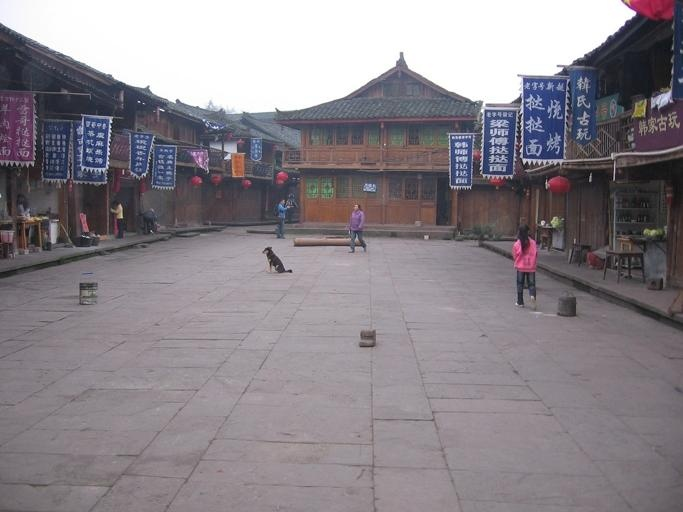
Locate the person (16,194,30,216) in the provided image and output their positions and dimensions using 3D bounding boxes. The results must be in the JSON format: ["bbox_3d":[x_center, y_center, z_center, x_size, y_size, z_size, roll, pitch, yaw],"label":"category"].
[{"bbox_3d":[-9.520,-1.491,19.753,0.306,0.617,0.790,-5,13,-26],"label":"person"}]

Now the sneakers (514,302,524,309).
[{"bbox_3d":[3.515,0.965,13.110,0.090,0.117,0.257,1,-5,-16],"label":"sneakers"}]

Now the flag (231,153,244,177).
[{"bbox_3d":[-5.805,-4.978,36.829,0.712,1.212,0.310,2,11,12],"label":"flag"}]

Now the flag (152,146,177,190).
[{"bbox_3d":[-7.282,-3.589,27.143,0.984,1.965,0.078,1,-14,-12],"label":"flag"}]

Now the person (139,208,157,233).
[{"bbox_3d":[-8.355,-1.448,28.758,0.628,0.953,0.594,-4,11,-20],"label":"person"}]

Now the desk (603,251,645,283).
[{"bbox_3d":[6.412,0.118,15.016,0.845,0.899,0.876,-1,1,-12],"label":"desk"}]

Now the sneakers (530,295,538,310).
[{"bbox_3d":[3.702,0.897,12.814,0.084,0.173,0.311,-5,29,6],"label":"sneakers"}]

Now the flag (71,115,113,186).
[{"bbox_3d":[-7.985,-3.317,21.056,1.088,2.138,1.376,-8,13,-35],"label":"flag"}]

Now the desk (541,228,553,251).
[{"bbox_3d":[7.272,-0.646,23.443,0.372,0.863,1.594,3,12,16],"label":"desk"}]

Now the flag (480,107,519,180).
[{"bbox_3d":[4.535,-3.229,19.076,1.056,2.412,0.048,4,39,15],"label":"flag"}]

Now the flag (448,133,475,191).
[{"bbox_3d":[4.879,-3.872,27.143,0.954,2.110,0.981,1,11,7],"label":"flag"}]

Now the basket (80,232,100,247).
[{"bbox_3d":[-8.469,-0.519,22.202,0.384,0.416,0.533,4,-25,-24],"label":"basket"}]

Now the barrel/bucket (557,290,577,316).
[{"bbox_3d":[4.175,0.889,12.318,0.332,0.487,0.445,0,-1,17],"label":"barrel/bucket"}]

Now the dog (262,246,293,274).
[{"bbox_3d":[-1.815,0.051,18.003,0.586,0.684,1.586,-3,12,-14],"label":"dog"}]

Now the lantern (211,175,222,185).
[{"bbox_3d":[-7.149,-4.263,37.613,0.523,0.551,0.550,-1,4,33],"label":"lantern"}]

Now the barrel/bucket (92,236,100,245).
[{"bbox_3d":[-8.329,-0.517,22.414,0.187,0.263,0.253,2,-14,-14],"label":"barrel/bucket"}]

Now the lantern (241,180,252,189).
[{"bbox_3d":[-5.621,-4.328,39.725,0.734,0.796,0.750,-5,7,-14],"label":"lantern"}]

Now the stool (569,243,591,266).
[{"bbox_3d":[6.573,-0.042,18.345,0.602,0.753,0.565,3,5,42],"label":"stool"}]

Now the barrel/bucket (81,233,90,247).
[{"bbox_3d":[-8.478,-0.492,21.991,0.247,0.343,0.319,0,-4,-11],"label":"barrel/bucket"}]

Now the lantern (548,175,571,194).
[{"bbox_3d":[5.945,-1.935,18.234,0.501,0.492,0.525,2,6,32],"label":"lantern"}]

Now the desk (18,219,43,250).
[{"bbox_3d":[-9.271,-0.659,19.634,0.693,0.749,0.718,-3,5,-19],"label":"desk"}]

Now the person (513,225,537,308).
[{"bbox_3d":[3.609,0.199,13.030,0.470,1.657,0.738,3,11,16],"label":"person"}]
